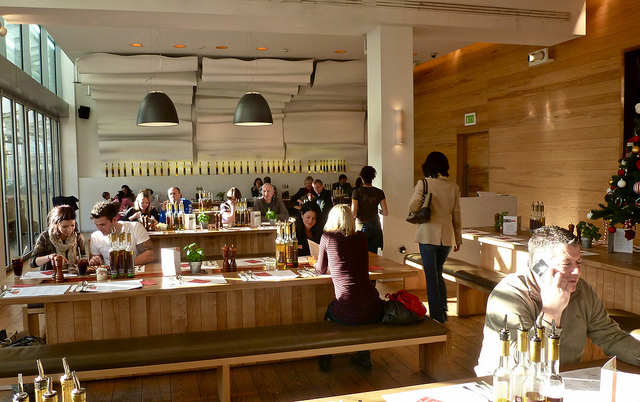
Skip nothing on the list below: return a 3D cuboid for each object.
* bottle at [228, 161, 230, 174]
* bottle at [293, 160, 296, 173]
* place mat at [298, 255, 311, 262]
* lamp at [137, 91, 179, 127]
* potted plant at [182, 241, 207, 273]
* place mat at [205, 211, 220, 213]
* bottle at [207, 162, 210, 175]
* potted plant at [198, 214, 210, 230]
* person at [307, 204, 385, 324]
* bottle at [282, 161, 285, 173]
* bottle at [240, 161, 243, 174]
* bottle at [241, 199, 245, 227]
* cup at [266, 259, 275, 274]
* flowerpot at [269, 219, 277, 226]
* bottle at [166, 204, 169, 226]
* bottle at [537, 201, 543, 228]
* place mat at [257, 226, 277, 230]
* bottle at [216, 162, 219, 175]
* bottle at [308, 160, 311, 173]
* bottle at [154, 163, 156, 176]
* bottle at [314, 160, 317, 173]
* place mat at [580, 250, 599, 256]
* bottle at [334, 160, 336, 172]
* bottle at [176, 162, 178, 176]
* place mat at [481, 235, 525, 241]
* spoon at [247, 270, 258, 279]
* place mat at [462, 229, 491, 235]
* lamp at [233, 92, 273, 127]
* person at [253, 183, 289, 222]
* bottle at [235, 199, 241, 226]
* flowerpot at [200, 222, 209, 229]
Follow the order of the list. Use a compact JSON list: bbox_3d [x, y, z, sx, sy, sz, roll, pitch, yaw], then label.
[{"bbox_3d":[-2.564,-0.926,12.914,0.058,0.340,0.052,-5,1,-11],"label":"bottle"},{"bbox_3d":[-0.755,-0.980,13.200,0.059,0.336,0.079,-5,1,-4],"label":"bottle"},{"bbox_3d":[-0.218,0.725,5.722,0.113,0.059,0.248,-4,1,-4],"label":"place mat"},{"bbox_3d":[-2.430,-1.391,6.873,0.617,0.476,0.593,-3,6,-10],"label":"lamp"},{"bbox_3d":[-1.442,0.662,5.224,0.223,0.279,0.239,9,-4,-43],"label":"potted plant"},{"bbox_3d":[-2.139,0.208,9.045,0.237,0.027,0.536,-4,1,-10],"label":"place mat"},{"bbox_3d":[-3.106,-0.909,12.809,0.053,0.333,0.052,-4,1,0],"label":"bottle"},{"bbox_3d":[-1.918,0.329,7.704,0.234,0.244,0.248,5,9,6],"label":"potted plant"},{"bbox_3d":[0.295,0.653,4.896,0.685,1.187,0.342,-4,1,11],"label":"person"},{"bbox_3d":[-1.045,-0.968,13.118,0.073,0.307,0.030,-5,1,-7],"label":"bottle"},{"bbox_3d":[-2.220,-0.936,12.943,0.079,0.344,0.060,-5,1,-23],"label":"bottle"},{"bbox_3d":[-1.363,0.220,8.083,0.075,0.442,0.133,-5,1,-10],"label":"bottle"},{"bbox_3d":[-0.552,0.743,5.259,0.112,0.120,0.110,0,-2,0],"label":"cup"},{"bbox_3d":[-0.821,0.365,7.997,0.104,0.076,0.105,5,5,43],"label":"flowerpot"},{"bbox_3d":[-2.569,0.203,7.747,0.059,0.301,0.235,-5,1,-17],"label":"bottle"},{"bbox_3d":[3.399,0.222,7.107,0.134,0.310,0.062,-5,1,-42],"label":"bottle"},{"bbox_3d":[-0.893,0.448,7.695,0.279,0.048,0.391,-4,1,-13],"label":"place mat"},{"bbox_3d":[-2.875,-0.896,12.867,0.076,0.324,0.057,-5,1,-12],"label":"bottle"},{"bbox_3d":[-0.312,-0.994,13.246,0.079,0.340,0.095,-5,1,-8],"label":"bottle"},{"bbox_3d":[-4.485,-0.854,12.493,0.045,0.345,0.087,-5,1,-27],"label":"bottle"},{"bbox_3d":[-0.136,-1.004,13.268,0.092,0.345,0.067,-4,1,33],"label":"bottle"},{"bbox_3d":[3.393,0.649,5.798,0.164,0.057,0.304,-4,1,31],"label":"place mat"},{"bbox_3d":[0.434,-1.014,13.352,0.037,0.309,0.056,-5,1,-22],"label":"bottle"},{"bbox_3d":[-3.928,-0.879,12.617,0.049,0.367,0.075,-5,1,-27],"label":"bottle"},{"bbox_3d":[2.751,0.549,6.821,0.350,0.062,0.411,-5,1,-35],"label":"place mat"},{"bbox_3d":[-0.768,0.822,5.178,0.048,0.044,0.414,-12,6,-19],"label":"spoon"},{"bbox_3d":[2.428,0.490,7.366,0.308,0.063,0.478,-4,1,-28],"label":"place mat"},{"bbox_3d":[-1.093,-1.499,7.449,0.661,0.503,0.646,2,6,11],"label":"lamp"},{"bbox_3d":[-0.925,0.092,8.249,0.638,0.808,0.492,-3,-3,-8],"label":"person"},{"bbox_3d":[-1.468,0.204,8.165,0.116,0.463,0.324,-5,1,-10],"label":"bottle"},{"bbox_3d":[-1.938,0.407,7.692,0.112,0.081,0.098,1,2,-15],"label":"flowerpot"}]
